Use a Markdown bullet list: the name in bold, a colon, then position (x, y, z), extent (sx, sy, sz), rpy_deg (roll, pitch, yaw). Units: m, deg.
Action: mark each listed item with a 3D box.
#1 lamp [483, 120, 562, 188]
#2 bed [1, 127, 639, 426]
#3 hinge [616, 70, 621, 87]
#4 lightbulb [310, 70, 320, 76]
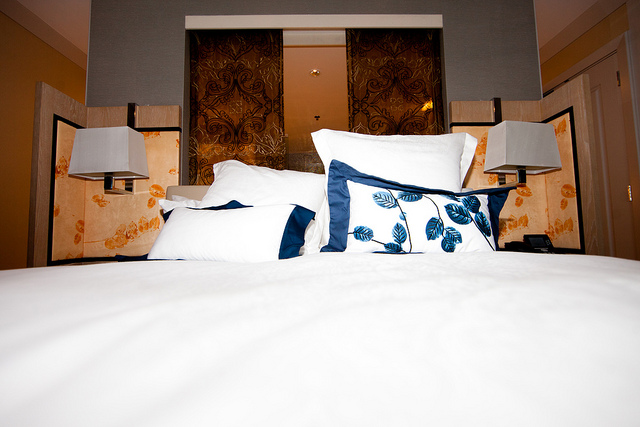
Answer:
- **lamp**: position (1.551, -0.458, 3.305), extent (0.486, 0.450, 0.413), rpy_deg (-1, -2, 7)
- **bed**: position (0.014, 0.134, 1.689), extent (1.957, 0.498, 1.559), rpy_deg (-3, 14, -2)
- **hinge**: position (3.018, -1.382, 4.316), extent (0.034, 0.158, 0.108), rpy_deg (5, 15, 28)
- **lightbulb**: position (-0.062, -1.677, 5.013), extent (0.105, 0.056, 0.125), rpy_deg (-2, 14, 1)
